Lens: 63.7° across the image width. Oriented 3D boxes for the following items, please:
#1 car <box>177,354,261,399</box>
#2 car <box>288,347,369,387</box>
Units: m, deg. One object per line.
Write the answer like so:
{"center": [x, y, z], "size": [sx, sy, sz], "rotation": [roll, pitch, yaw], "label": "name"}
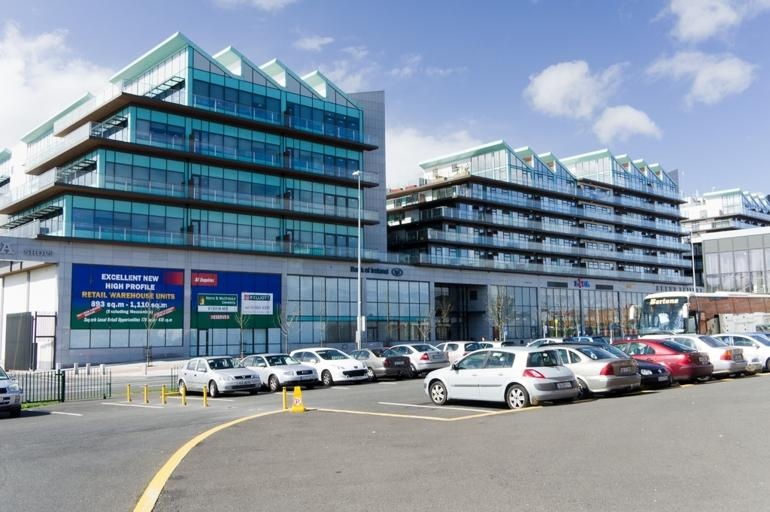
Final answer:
{"center": [-7.405, 5.334, 27.698], "size": [3.817, 1.764, 1.480], "rotation": [-10, -12, 35], "label": "car"}
{"center": [-2.824, 5.535, 31.096], "size": [1.781, 1.278, 3.638], "rotation": [5, -11, -42], "label": "car"}
